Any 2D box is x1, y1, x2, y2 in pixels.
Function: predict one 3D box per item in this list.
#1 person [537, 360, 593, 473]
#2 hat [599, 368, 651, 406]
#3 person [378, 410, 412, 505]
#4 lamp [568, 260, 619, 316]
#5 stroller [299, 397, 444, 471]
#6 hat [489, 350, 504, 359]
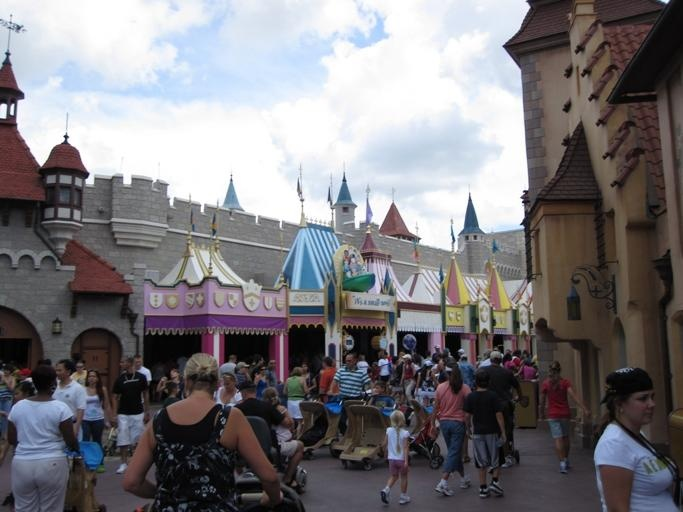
[{"bbox_3d":[3.903,2.834,14.810,0.680,1.983,1.193,-3,-13,13],"label":"person"},{"bbox_3d":[2.934,1.309,8.592,0.417,0.288,0.321,-16,-8,20],"label":"hat"},{"bbox_3d":[0.847,3.232,13.480,0.464,1.444,1.229,0,-13,2],"label":"person"},{"bbox_3d":[4.904,0.664,16.238,1.016,1.072,0.688,-8,-15,33],"label":"lamp"},{"bbox_3d":[0.678,3.394,15.759,1.189,1.325,1.964,-7,-9,42],"label":"stroller"},{"bbox_3d":[2.787,1.797,15.091,0.191,0.182,0.394,-2,-14,8],"label":"hat"}]
